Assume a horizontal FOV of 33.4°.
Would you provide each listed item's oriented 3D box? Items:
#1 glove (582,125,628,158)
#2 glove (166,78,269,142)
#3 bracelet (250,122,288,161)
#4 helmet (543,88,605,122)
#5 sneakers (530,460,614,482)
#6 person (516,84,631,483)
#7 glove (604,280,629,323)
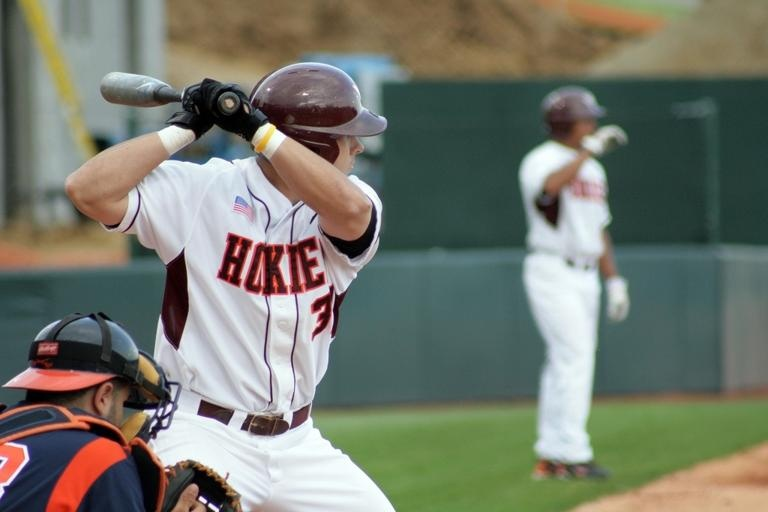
[{"bbox_3d":[1.507,-0.785,8.874,0.380,0.142,0.213,-18,-10,20],"label":"glove"},{"bbox_3d":[-0.911,-0.807,7.103,0.441,0.216,0.369,13,-20,6],"label":"glove"},{"bbox_3d":[-0.635,-0.639,7.084,0.109,0.157,0.205,34,-37,-25],"label":"bracelet"},{"bbox_3d":[1.273,-1.058,8.664,0.369,0.193,0.251,-7,18,9],"label":"helmet"},{"bbox_3d":[1.218,1.438,8.436,0.490,0.133,0.081,3,10,3],"label":"sneakers"},{"bbox_3d":[1.212,0.198,8.559,0.660,2.520,0.752,3,10,4],"label":"person"},{"bbox_3d":[1.604,0.327,8.911,0.165,0.295,0.116,3,-1,4],"label":"glove"}]
